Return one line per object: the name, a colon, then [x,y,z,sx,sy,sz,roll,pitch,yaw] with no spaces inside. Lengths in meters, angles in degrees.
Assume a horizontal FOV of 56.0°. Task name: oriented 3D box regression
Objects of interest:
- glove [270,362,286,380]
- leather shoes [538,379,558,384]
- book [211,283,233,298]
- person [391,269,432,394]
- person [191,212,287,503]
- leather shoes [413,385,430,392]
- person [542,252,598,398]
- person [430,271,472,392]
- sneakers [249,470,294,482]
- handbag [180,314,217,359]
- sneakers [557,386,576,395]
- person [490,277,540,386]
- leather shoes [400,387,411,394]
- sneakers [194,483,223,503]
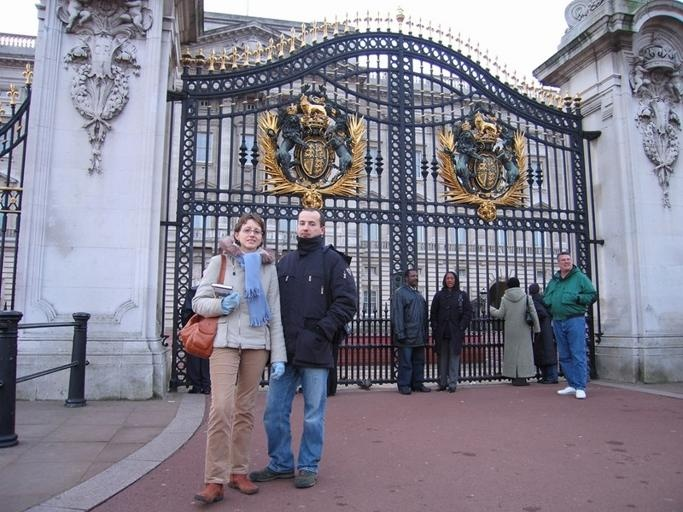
glove: [-0.624,1.175,6.565,0.124,0.183,0.178,14,-10,7]
leather shoes: [3.902,2.367,12.095,0.372,0.164,0.130,-2,-3,18]
book: [-1.198,0.344,6.429,0.149,0.145,0.035,4,-2,6]
person: [1.204,1.294,11.132,0.711,2.131,0.593,0,4,-18]
person: [-1.025,0.964,6.486,0.965,2.773,0.678,-1,5,-27]
leather shoes: [1.405,2.291,11.212,0.315,0.147,0.123,-1,-3,11]
person: [3.918,1.170,10.834,0.555,2.422,1.089,0,4,-15]
person: [1.925,1.321,11.350,0.552,2.075,0.683,-1,5,-31]
sneakers: [-0.727,2.256,6.696,0.408,0.169,0.151,6,-10,-11]
handbag: [-1.423,0.812,6.435,0.191,0.370,0.274,21,9,32]
sneakers: [3.799,2.268,10.810,0.317,0.142,0.117,0,-4,-1]
person: [3.245,1.387,11.930,0.909,1.963,0.617,2,4,6]
leather shoes: [1.096,2.323,11.028,0.076,0.163,0.222,5,-12,-28]
sneakers: [-1.283,2.265,6.223,0.260,0.198,0.291,1,4,-4]
